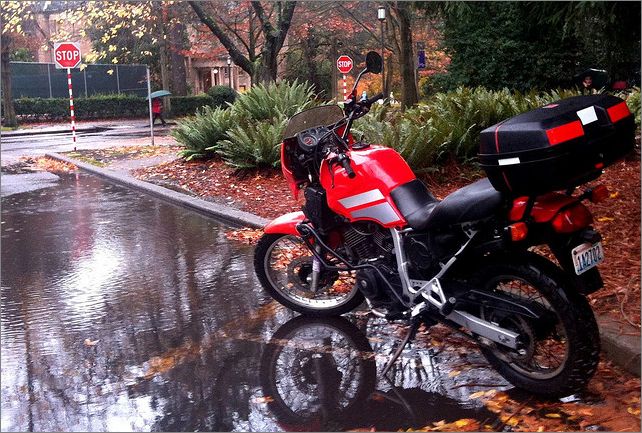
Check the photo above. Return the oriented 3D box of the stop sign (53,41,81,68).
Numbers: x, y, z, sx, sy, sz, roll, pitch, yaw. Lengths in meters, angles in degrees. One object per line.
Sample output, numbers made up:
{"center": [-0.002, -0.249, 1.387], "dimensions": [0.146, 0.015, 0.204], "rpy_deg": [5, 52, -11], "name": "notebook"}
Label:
{"center": [-8.502, -5.580, 16.693], "dimensions": [0.127, 0.862, 0.938], "rpy_deg": [22, 27, 28], "name": "stop sign"}
